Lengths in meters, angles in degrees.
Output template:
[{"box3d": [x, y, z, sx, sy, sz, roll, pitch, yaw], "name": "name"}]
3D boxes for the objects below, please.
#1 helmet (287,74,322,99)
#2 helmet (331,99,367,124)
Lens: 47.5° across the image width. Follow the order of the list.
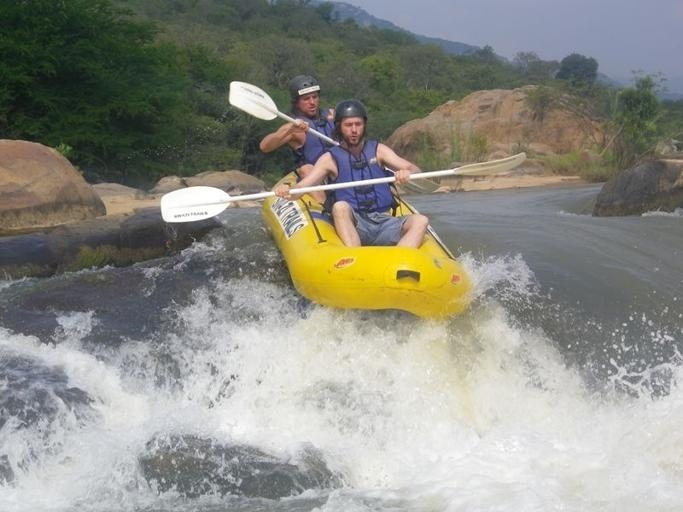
[{"box3d": [-0.504, -2.223, 10.191, 0.340, 0.280, 0.269, 21, 56, 31], "name": "helmet"}, {"box3d": [0.089, -1.593, 8.422, 0.254, 0.163, 0.266, -3, 20, -10], "name": "helmet"}]
